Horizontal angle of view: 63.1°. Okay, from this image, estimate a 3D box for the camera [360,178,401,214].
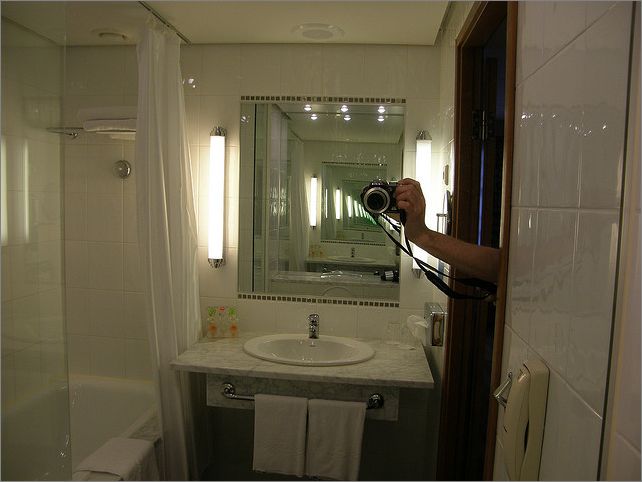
[{"bbox_3d":[0.227,-0.182,2.052,0.143,0.161,0.112,1,21,24],"label":"camera"}]

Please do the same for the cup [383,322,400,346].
[{"bbox_3d":[0.389,0.494,2.836,0.088,0.105,0.095,0,2,0],"label":"cup"}]

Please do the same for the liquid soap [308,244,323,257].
[{"bbox_3d":[-0.027,0.051,2.914,0.059,0.069,0.029,1,3,4],"label":"liquid soap"}]

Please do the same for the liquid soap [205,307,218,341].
[{"bbox_3d":[-0.601,0.439,2.903,0.060,0.157,0.154,-1,6,-13],"label":"liquid soap"}]

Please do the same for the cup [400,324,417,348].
[{"bbox_3d":[0.472,0.502,2.788,0.091,0.103,0.063,-1,-3,14],"label":"cup"}]

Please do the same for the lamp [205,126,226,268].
[{"bbox_3d":[-0.572,-0.240,2.872,0.108,0.756,0.101,-1,5,-14],"label":"lamp"}]

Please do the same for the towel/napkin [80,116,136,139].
[{"bbox_3d":[-1.028,-0.578,2.701,0.290,0.072,0.279,1,6,10],"label":"towel/napkin"}]

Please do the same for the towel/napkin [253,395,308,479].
[{"bbox_3d":[-0.183,0.892,2.437,0.312,0.468,0.070,1,1,11],"label":"towel/napkin"}]

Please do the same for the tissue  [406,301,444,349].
[{"bbox_3d":[0.535,0.427,2.654,0.131,0.248,0.377,0,6,-2],"label":"tissue "}]

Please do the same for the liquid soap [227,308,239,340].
[{"bbox_3d":[-0.482,0.438,2.888,0.054,0.164,0.116,-1,5,-11],"label":"liquid soap"}]

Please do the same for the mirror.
[{"bbox_3d":[0.033,-0.262,2.825,0.959,1.324,0.020,0,2,2],"label":"mirror"}]
